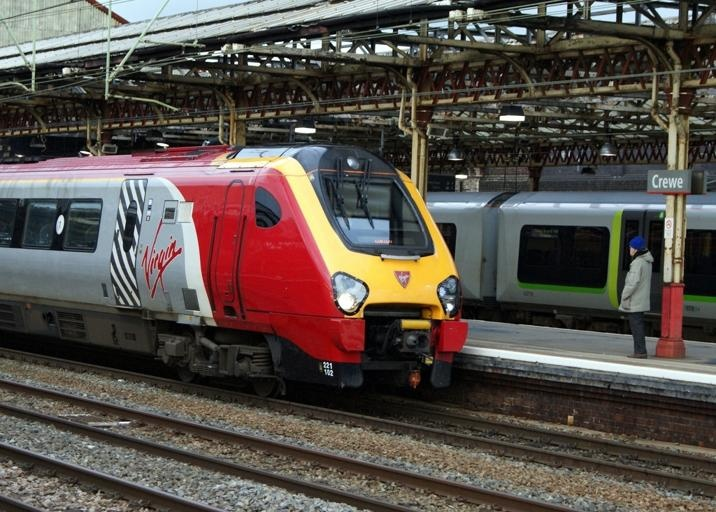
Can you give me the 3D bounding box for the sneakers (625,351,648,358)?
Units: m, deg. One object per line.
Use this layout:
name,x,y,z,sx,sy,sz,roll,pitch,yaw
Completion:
sneakers,5.029,1.803,12.379,0.364,0.118,0.139,4,4,31

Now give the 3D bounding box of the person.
person,5.093,0.785,12.564,0.525,2.220,0.954,3,7,22

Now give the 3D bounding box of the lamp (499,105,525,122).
lamp,4.544,-4.229,20.125,0.611,0.461,0.895,2,6,16
